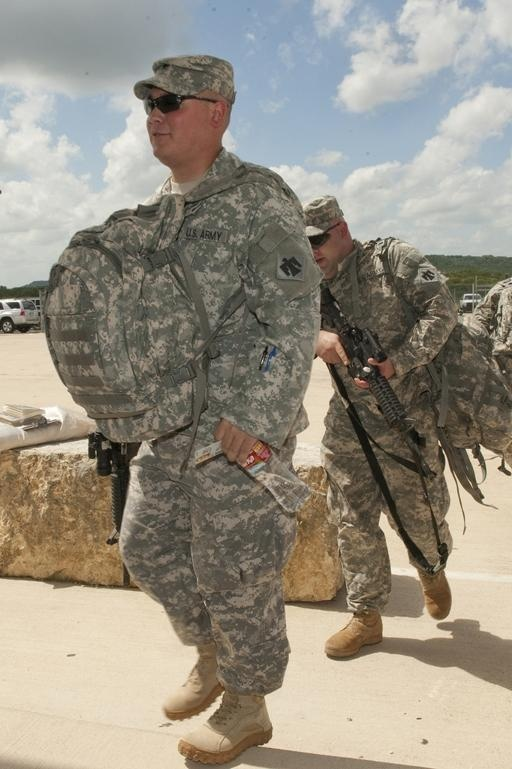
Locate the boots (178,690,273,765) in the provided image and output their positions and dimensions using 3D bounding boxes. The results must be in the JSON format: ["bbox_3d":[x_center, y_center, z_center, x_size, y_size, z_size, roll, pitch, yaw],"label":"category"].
[{"bbox_3d":[-0.071,0.926,1.916,0.282,0.173,0.120,7,-6,-34],"label":"boots"}]

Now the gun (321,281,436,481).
[{"bbox_3d":[0.498,-0.009,2.692,0.142,0.745,0.375,-28,-13,-2],"label":"gun"}]

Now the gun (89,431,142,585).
[{"bbox_3d":[-0.473,0.419,2.319,0.115,0.567,0.238,1,0,7],"label":"gun"}]

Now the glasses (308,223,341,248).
[{"bbox_3d":[0.273,-0.566,2.739,0.105,0.034,0.115,-11,27,43],"label":"glasses"}]

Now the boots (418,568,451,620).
[{"bbox_3d":[0.736,0.841,2.793,0.091,0.234,0.184,-12,-11,32],"label":"boots"}]

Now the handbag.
[{"bbox_3d":[-0.330,-0.153,1.861,0.394,0.570,0.443,-15,12,-41],"label":"handbag"}]

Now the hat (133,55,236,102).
[{"bbox_3d":[-0.185,-0.823,1.897,0.290,0.093,0.173,-2,11,-24],"label":"hat"}]

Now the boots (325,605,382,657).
[{"bbox_3d":[0.368,0.924,2.634,0.289,0.157,0.104,-1,-1,-44],"label":"boots"}]

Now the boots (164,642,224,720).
[{"bbox_3d":[-0.193,0.895,2.121,0.096,0.166,0.269,-5,-2,31],"label":"boots"}]
